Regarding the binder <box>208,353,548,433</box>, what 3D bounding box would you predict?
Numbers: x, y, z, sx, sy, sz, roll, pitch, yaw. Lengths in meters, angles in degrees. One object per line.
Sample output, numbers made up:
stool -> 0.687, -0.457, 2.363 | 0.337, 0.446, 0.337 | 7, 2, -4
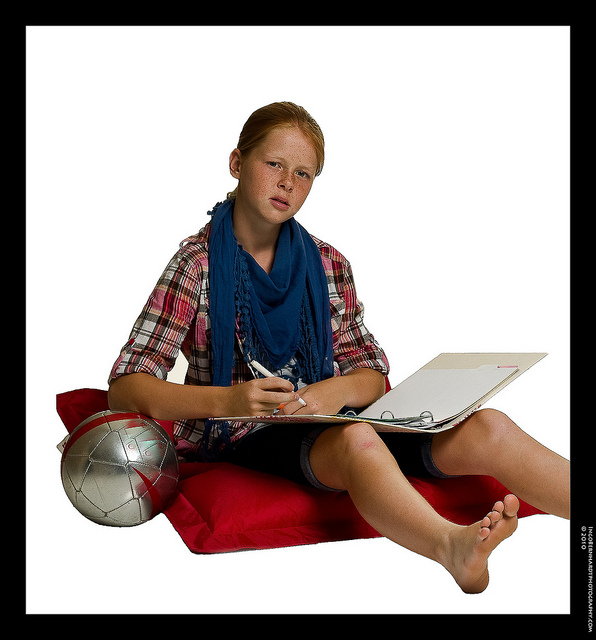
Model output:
binder -> 0.300, 0.203, 2.106 | 0.796, 0.244, 0.485 | 2, 0, -30

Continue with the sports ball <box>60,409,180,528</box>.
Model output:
sports ball -> -0.560, 0.472, 2.172 | 0.354, 0.337, 0.179 | 2, 0, -10

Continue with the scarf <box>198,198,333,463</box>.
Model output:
scarf -> -0.120, 0.054, 2.531 | 0.686, 0.870, 0.249 | -6, -2, -16
